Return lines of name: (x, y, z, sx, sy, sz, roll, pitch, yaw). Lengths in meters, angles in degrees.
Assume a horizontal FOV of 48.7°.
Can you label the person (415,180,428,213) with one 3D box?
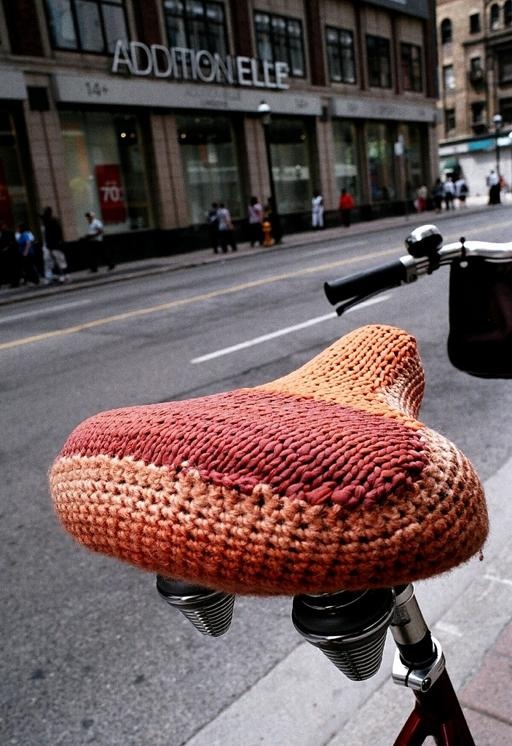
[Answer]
person: (10.707, -11.248, 36.803, 0.747, 1.635, 2.432, -5, 17, 19)
